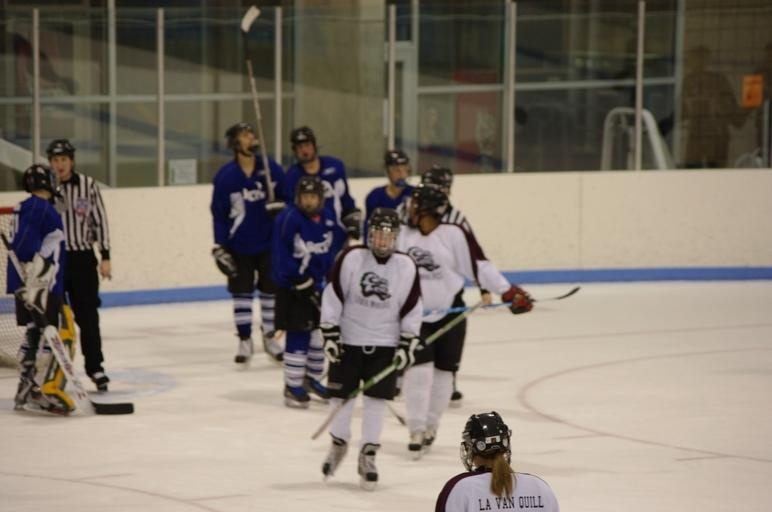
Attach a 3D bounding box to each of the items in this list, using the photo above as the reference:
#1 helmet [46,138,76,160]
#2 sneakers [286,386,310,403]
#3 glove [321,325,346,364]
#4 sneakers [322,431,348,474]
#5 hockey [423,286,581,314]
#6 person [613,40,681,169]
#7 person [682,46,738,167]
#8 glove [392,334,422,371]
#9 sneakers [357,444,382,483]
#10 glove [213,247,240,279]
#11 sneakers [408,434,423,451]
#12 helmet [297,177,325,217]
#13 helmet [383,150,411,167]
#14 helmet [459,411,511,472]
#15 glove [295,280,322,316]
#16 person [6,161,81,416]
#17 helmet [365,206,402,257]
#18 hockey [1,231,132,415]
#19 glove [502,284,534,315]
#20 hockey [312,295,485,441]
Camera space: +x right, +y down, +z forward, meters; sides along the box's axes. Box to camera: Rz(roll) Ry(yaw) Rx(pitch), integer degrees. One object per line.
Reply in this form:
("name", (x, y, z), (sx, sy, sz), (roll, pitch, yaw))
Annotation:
("helmet", (-2.263, -0.742, 8.211), (0.179, 0.212, 0.117), (1, 7, 2))
("sneakers", (-0.605, 0.961, 8.151), (0.173, 0.075, 0.096), (3, 6, 37))
("glove", (-0.311, 0.517, 6.879), (0.115, 0.199, 0.076), (0, 1, 6))
("sneakers", (-0.298, 1.192, 7.049), (0.083, 0.237, 0.160), (21, -8, 23))
("hockey", (0.886, 0.344, 8.849), (0.862, 0.076, 0.093), (-13, 7, -6))
("person", (2.686, -1.628, 12.121), (0.837, 1.467, 0.249), (-2, 5, -24))
("person", (3.388, -1.552, 12.265), (0.572, 1.241, 0.233), (1, 5, 6))
("glove", (0.116, 0.561, 6.921), (0.137, 0.206, 0.098), (1, 5, 0))
("sneakers", (-0.103, 1.231, 6.930), (0.090, 0.268, 0.190), (-1, -18, -11))
("glove", (-1.226, 0.052, 9.044), (0.146, 0.251, 0.116), (-36, 5, 12))
("sneakers", (0.190, 1.159, 7.355), (0.094, 0.172, 0.105), (3, -4, 2))
("helmet", (-0.509, -0.397, 7.896), (0.179, 0.244, 0.244), (-1, 6, -3))
("helmet", (0.092, -0.710, 8.423), (0.173, 0.137, 0.125), (5, 0, -26))
("helmet", (0.449, 0.892, 5.697), (0.241, 0.279, 0.284), (-1, 4, -4))
("glove", (-0.543, 0.299, 8.137), (0.112, 0.219, 0.165), (-13, 12, 36))
("person", (-2.312, 0.227, 7.850), (0.409, 1.672, 0.271), (-1, 5, -20))
("helmet", (-0.020, -0.138, 6.833), (0.190, 0.262, 0.267), (3, 6, -6))
("hockey", (-2.277, 0.505, 8.245), (0.193, 1.387, 0.162), (-29, -7, 25))
("glove", (0.848, 0.278, 7.538), (0.223, 0.138, 0.085), (35, 8, -1))
("hockey", (0.042, 0.705, 7.284), (0.239, 1.218, 0.041), (39, -19, 14))
